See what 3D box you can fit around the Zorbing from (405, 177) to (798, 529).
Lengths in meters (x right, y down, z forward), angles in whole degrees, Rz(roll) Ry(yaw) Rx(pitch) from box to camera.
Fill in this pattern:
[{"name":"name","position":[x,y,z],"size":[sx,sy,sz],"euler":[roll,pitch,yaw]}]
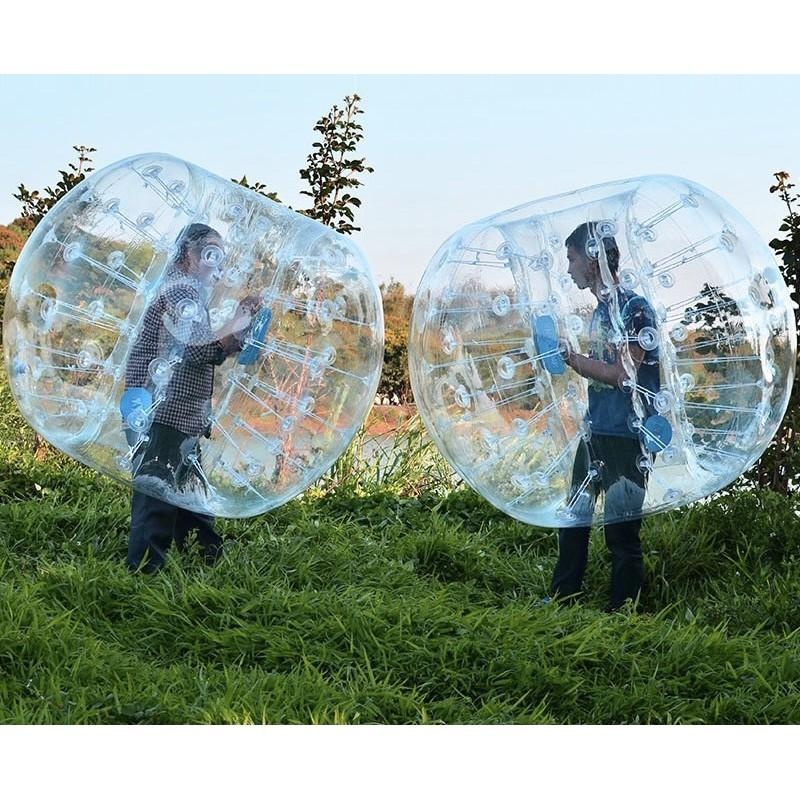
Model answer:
[{"name":"Zorbing","position":[0.830,-0.244,3.486],"size":[1.625,1.391,1.489],"euler":[-4,6,2]}]

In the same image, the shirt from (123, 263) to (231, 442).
[{"name":"shirt","position":[-0.975,-0.219,3.121],"size":[0.492,0.923,0.826],"euler":[1,23,-21]}]
